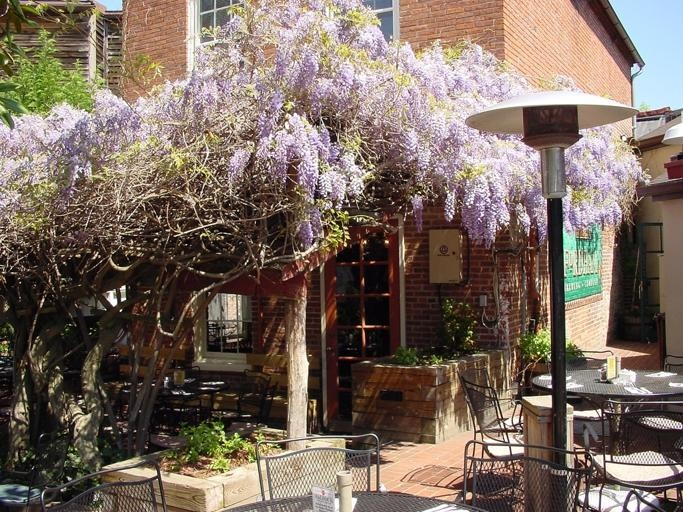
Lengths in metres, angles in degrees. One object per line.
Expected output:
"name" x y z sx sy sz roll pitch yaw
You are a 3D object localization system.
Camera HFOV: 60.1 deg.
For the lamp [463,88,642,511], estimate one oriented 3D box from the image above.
"lamp" 1.472 0.218 4.035 1.049 2.799 0.877 -3 -5 26
